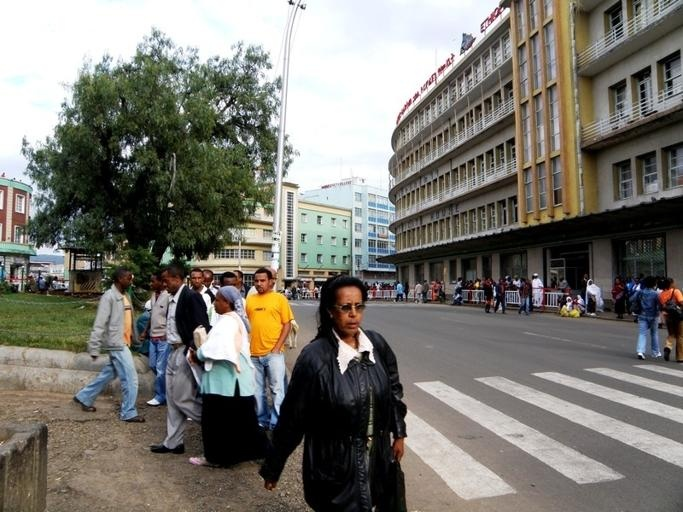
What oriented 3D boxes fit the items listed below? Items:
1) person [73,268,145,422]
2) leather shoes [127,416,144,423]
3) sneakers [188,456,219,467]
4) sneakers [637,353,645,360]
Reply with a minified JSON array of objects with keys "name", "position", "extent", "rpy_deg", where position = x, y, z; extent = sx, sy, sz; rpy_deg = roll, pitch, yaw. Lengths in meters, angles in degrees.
[{"name":"person","position":[-3.768,1.442,9.268],"extent":[0.984,2.497,0.969],"rpy_deg":[2,-3,-28]},{"name":"leather shoes","position":[-3.293,2.641,9.070],"extent":[0.263,0.142,0.104],"rpy_deg":[7,-13,-6]},{"name":"sneakers","position":[-1.915,2.851,7.789],"extent":[0.466,0.107,0.121],"rpy_deg":[-2,-4,20]},{"name":"sneakers","position":[7.014,2.368,13.201],"extent":[0.103,0.139,0.300],"rpy_deg":[-8,-23,29]}]
